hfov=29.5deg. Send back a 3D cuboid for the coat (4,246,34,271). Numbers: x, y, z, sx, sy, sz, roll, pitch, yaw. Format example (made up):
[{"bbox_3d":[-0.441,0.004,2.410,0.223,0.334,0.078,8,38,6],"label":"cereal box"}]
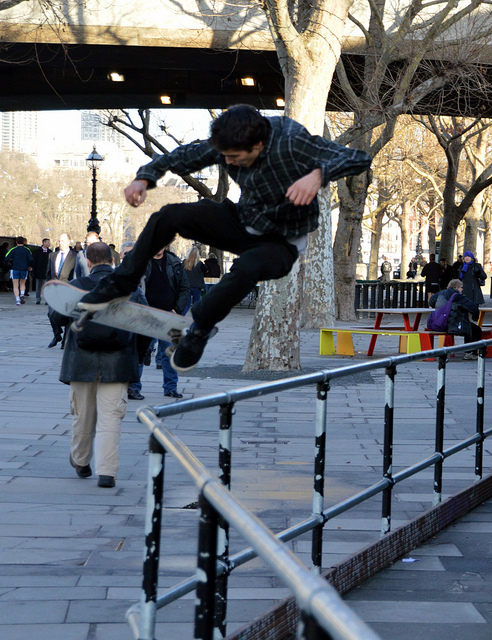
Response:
[{"bbox_3d":[-5.782,-1.567,24.117,0.643,0.623,1.032,-6,1,-12],"label":"coat"}]

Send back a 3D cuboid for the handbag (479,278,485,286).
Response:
[{"bbox_3d":[4.610,-0.738,18.402,0.160,0.135,0.047,-3,0,35],"label":"handbag"}]

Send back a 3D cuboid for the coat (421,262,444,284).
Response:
[{"bbox_3d":[4.488,-1.115,22.562,0.458,0.445,0.553,-5,1,10],"label":"coat"}]

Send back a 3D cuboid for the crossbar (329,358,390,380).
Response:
[{"bbox_3d":[0.500,0.215,4.050,0.083,0.070,0.650,-5,1,26],"label":"crossbar"}]

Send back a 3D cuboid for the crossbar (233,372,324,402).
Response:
[{"bbox_3d":[0.134,0.244,3.449,0.078,0.078,0.718,-5,1,27],"label":"crossbar"}]

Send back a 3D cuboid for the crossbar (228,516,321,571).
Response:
[{"bbox_3d":[0.104,0.870,3.619,0.438,0.055,0.060,-17,-5,-27],"label":"crossbar"}]

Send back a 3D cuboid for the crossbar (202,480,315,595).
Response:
[{"bbox_3d":[-0.028,0.410,1.843,0.077,0.068,0.500,-25,15,-20],"label":"crossbar"}]

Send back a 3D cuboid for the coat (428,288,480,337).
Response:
[{"bbox_3d":[2.761,-0.088,12.531,0.782,0.609,0.388,7,2,43],"label":"coat"}]

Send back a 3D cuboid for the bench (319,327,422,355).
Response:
[{"bbox_3d":[1.704,0.306,13.224,0.984,0.346,2.103,-5,1,-26],"label":"bench"}]

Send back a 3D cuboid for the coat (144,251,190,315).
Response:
[{"bbox_3d":[-0.812,-0.340,9.046,0.534,0.563,0.312,0,1,-10],"label":"coat"}]
